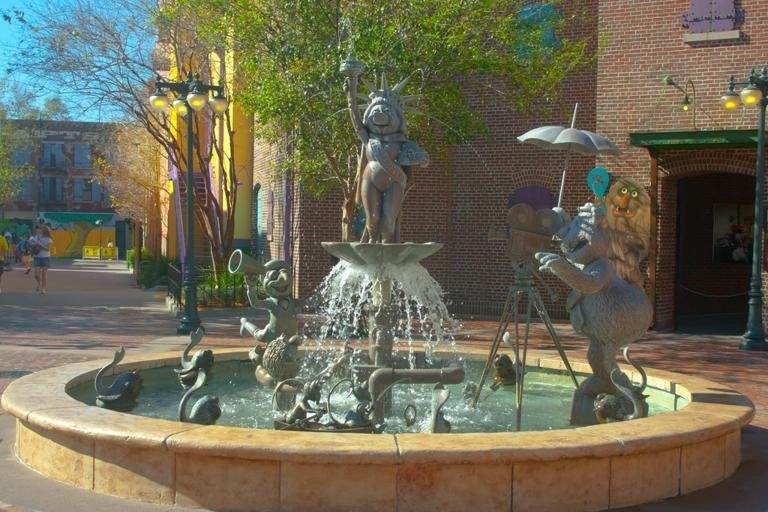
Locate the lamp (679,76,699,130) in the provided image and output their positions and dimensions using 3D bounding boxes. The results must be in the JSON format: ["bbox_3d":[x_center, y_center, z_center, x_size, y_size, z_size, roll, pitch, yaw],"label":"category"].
[{"bbox_3d":[7.808,-3.846,21.735,0.364,1.254,0.346,0,4,10],"label":"lamp"}]

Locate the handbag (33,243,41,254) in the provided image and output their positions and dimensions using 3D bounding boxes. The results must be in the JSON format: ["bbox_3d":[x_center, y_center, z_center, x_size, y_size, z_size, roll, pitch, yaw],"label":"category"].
[{"bbox_3d":[-11.416,-0.202,27.716,0.180,0.340,0.879,-3,4,-29],"label":"handbag"}]
